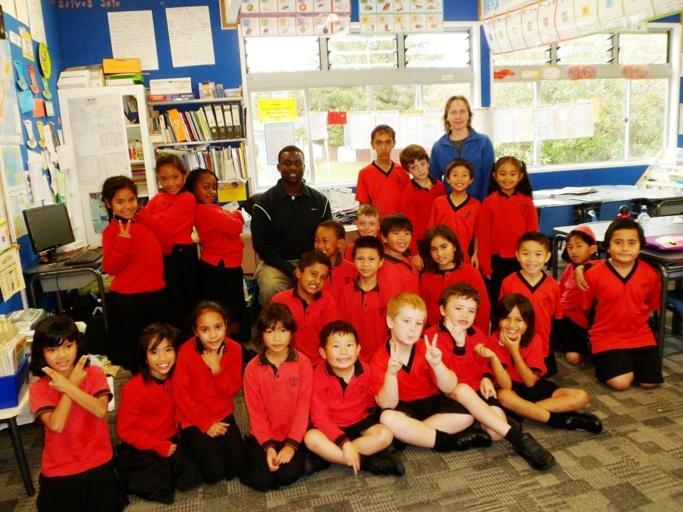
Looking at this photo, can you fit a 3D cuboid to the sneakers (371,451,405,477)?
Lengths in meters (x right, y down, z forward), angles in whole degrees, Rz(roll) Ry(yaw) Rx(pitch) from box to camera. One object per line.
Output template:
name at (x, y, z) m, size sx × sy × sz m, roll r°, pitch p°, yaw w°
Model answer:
sneakers at (0.226, 1.029, 2.499) m, size 0.127 × 0.042 × 0.114 m, roll 3°, pitch 16°, yaw 3°

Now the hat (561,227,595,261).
hat at (1.720, -0.088, 3.634) m, size 0.230 × 0.237 × 0.322 m, roll -8°, pitch 0°, yaw 40°

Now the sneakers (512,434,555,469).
sneakers at (0.939, 0.956, 2.515) m, size 0.223 × 0.111 × 0.095 m, roll 35°, pitch -6°, yaw 41°

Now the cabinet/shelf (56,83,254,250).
cabinet/shelf at (-1.696, -0.794, 4.284) m, size 1.859 × 1.472 × 0.487 m, roll -6°, pitch 12°, yaw -16°

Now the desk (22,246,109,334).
desk at (-2.121, 0.283, 3.850) m, size 0.480 × 0.378 × 0.605 m, roll -7°, pitch 4°, yaw -25°
